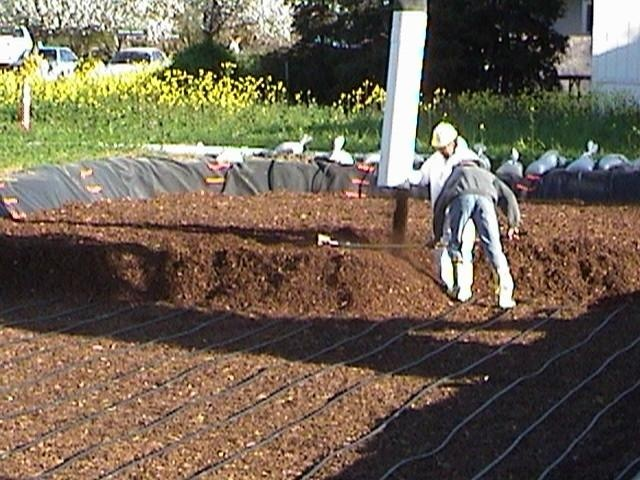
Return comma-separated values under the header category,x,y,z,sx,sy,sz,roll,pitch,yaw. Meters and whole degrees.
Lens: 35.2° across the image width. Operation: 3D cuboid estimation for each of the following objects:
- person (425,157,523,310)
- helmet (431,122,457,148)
category,x,y,z,sx,sy,sz,roll,pitch,yaw
person,1.006,-0.063,6.444,0.509,0.391,1.335,2,33,15
helmet,0.810,-0.673,6.542,0.163,0.164,0.115,6,13,9
